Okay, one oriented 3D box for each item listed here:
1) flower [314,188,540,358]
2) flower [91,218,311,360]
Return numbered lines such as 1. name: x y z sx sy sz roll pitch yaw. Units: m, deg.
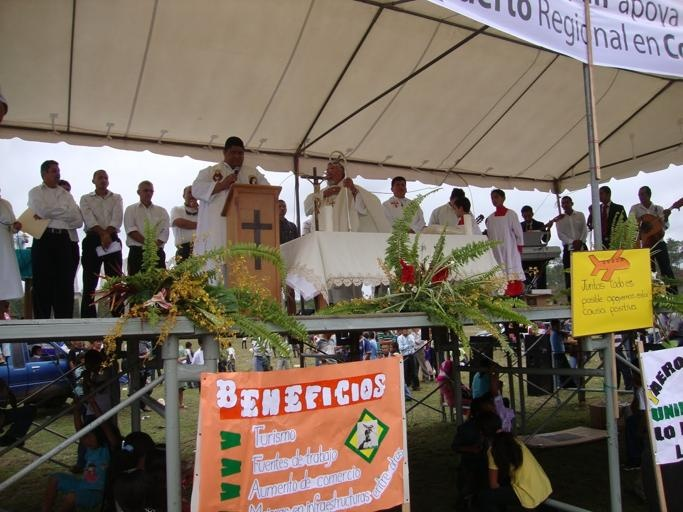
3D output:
1. flower: 0.891 0.192 4.889 1.851 0.822 1.697 0 10 17
2. flower: -0.984 0.318 3.943 1.076 0.431 1.088 17 14 40
